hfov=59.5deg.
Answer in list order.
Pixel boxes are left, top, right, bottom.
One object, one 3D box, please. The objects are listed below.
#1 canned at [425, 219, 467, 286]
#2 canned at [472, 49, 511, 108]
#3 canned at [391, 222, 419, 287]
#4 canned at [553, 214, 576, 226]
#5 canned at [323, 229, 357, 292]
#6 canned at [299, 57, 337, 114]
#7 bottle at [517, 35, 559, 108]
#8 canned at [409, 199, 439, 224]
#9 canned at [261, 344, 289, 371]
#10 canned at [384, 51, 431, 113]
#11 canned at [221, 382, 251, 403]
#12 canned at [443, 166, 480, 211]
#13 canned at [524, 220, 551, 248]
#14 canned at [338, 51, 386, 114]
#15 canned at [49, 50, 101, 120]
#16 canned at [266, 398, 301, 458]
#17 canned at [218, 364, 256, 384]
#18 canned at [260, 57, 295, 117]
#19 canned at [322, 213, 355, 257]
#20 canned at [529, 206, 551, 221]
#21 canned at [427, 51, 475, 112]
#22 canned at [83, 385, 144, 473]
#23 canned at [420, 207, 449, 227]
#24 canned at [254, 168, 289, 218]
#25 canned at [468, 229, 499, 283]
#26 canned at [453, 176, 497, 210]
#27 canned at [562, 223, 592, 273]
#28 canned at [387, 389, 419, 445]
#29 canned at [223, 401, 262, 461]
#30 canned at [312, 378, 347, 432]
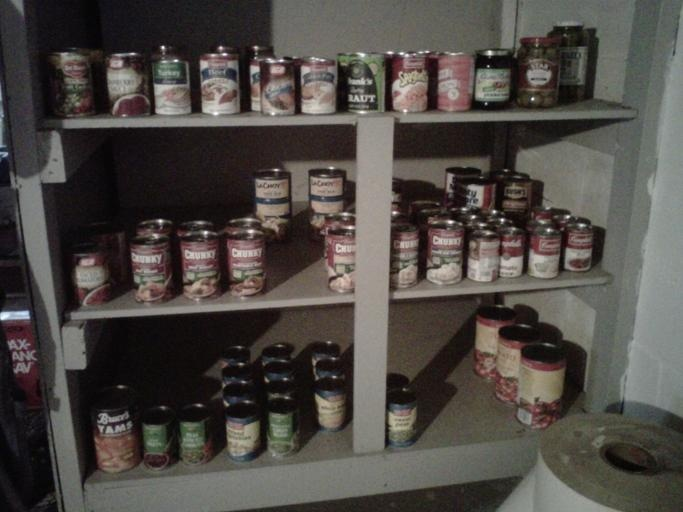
[{"bbox_3d":[0.328,-0.005,1.878,0.113,0.185,0.086,-1,17,9],"label":"canned"},{"bbox_3d":[0.462,-0.539,1.822,0.112,0.174,0.090,0,17,10],"label":"canned"},{"bbox_3d":[0.199,-0.004,1.866,0.086,0.185,0.129,-1,17,9],"label":"canned"},{"bbox_3d":[0.774,-0.137,2.067,0.062,0.040,0.058,0,18,4],"label":"canned"},{"bbox_3d":[0.000,0.010,1.822,0.092,0.190,0.108,-4,17,0],"label":"canned"},{"bbox_3d":[-0.062,-0.474,1.670,0.157,0.150,0.145,0,19,-2],"label":"canned"},{"bbox_3d":[0.602,-0.575,1.865,0.127,0.214,0.149,-9,18,-16],"label":"bottle"},{"bbox_3d":[0.288,-0.163,2.160,0.104,0.081,0.089,-3,13,-21],"label":"canned"},{"bbox_3d":[-0.231,0.357,2.186,0.109,0.103,0.104,2,15,2],"label":"canned"},{"bbox_3d":[0.197,-0.502,1.719,0.181,0.173,0.170,4,18,16],"label":"canned"},{"bbox_3d":[-0.339,0.447,1.953,0.090,0.046,0.096,-6,16,-10],"label":"canned"},{"bbox_3d":[0.458,-0.262,2.270,0.170,0.160,0.158,-4,19,-13],"label":"canned"},{"bbox_3d":[0.650,-0.075,2.016,0.092,0.086,0.084,3,28,6],"label":"canned"},{"bbox_3d":[0.064,-0.494,1.702,0.179,0.171,0.166,-1,20,-1],"label":"canned"},{"bbox_3d":[-0.723,-0.460,1.600,0.113,0.173,0.049,-10,18,-20],"label":"canned"},{"bbox_3d":[-0.190,0.540,1.910,0.108,0.150,0.139,-6,17,-9],"label":"canned"},{"bbox_3d":[-0.355,0.384,2.054,0.083,0.077,0.078,-7,14,-44],"label":"canned"},{"bbox_3d":[-0.180,-0.486,1.705,0.103,0.161,0.146,-3,17,4],"label":"canned"},{"bbox_3d":[-0.002,-0.070,1.918,0.110,0.104,0.102,2,16,6],"label":"canned"},{"bbox_3d":[0.698,-0.148,2.065,0.058,0.037,0.054,1,16,8],"label":"canned"},{"bbox_3d":[0.330,-0.511,1.771,0.191,0.182,0.177,-2,15,-6],"label":"canned"},{"bbox_3d":[-0.706,0.537,1.862,0.147,0.219,0.162,-11,18,-22],"label":"canned"},{"bbox_3d":[0.318,-0.129,2.004,0.070,0.044,0.065,-6,19,-21],"label":"canned"},{"bbox_3d":[-0.233,-0.221,2.055,0.168,0.162,0.156,-2,18,-4],"label":"canned"},{"bbox_3d":[0.457,0.003,1.918,0.089,0.156,0.071,-14,20,-30],"label":"canned"},{"bbox_3d":[0.465,-0.227,2.117,0.130,0.121,0.126,1,17,2],"label":"canned"},{"bbox_3d":[0.792,-0.027,1.991,0.087,0.155,0.067,2,18,18],"label":"canned"},{"bbox_3d":[0.172,0.521,1.985,0.158,0.151,0.145,1,21,2],"label":"canned"},{"bbox_3d":[-0.303,0.554,1.923,0.164,0.157,0.152,0,14,-1],"label":"canned"},{"bbox_3d":[-0.034,0.489,2.021,0.166,0.160,0.154,0,15,-1],"label":"canned"}]
